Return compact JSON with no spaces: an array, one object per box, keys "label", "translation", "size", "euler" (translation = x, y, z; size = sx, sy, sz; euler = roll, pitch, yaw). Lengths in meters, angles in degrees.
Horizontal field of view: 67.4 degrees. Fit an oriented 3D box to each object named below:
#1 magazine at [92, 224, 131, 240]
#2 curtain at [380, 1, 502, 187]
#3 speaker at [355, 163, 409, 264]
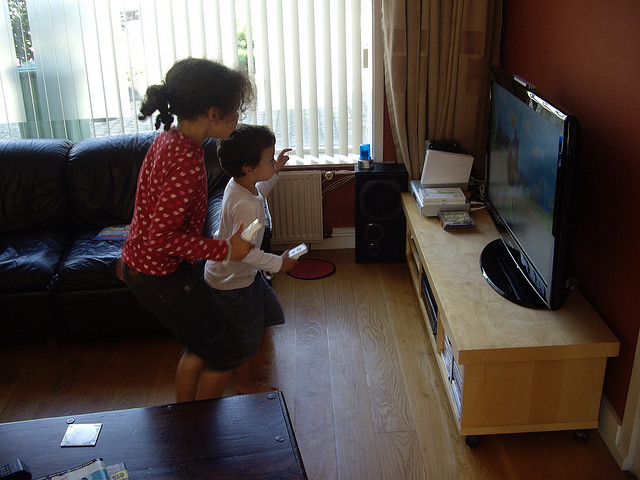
[{"label":"magazine","translation":[-1.326,-0.069,3.104],"size":[0.216,0.046,0.249],"euler":[-1,27,2]},{"label":"curtain","translation":[0.790,-1.005,3.271],"size":[0.771,1.146,0.295],"euler":[6,25,18]},{"label":"speaker","translation":[0.462,-0.073,3.545],"size":[0.380,0.390,0.774],"euler":[-5,63,9]}]
